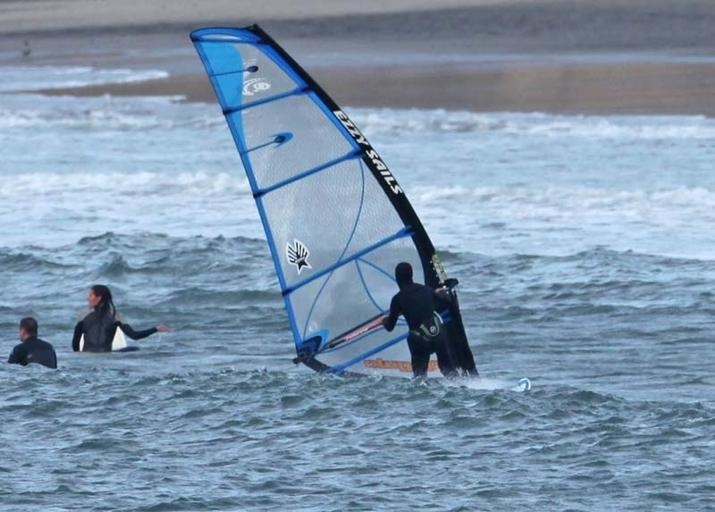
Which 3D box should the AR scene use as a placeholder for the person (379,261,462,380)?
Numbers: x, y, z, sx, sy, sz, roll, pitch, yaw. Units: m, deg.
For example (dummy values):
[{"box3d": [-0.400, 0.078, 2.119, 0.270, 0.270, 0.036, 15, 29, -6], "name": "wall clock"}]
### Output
[{"box3d": [1.618, 1.617, 38.558, 1.647, 2.911, 1.149, -13, 13, -4], "name": "person"}]
